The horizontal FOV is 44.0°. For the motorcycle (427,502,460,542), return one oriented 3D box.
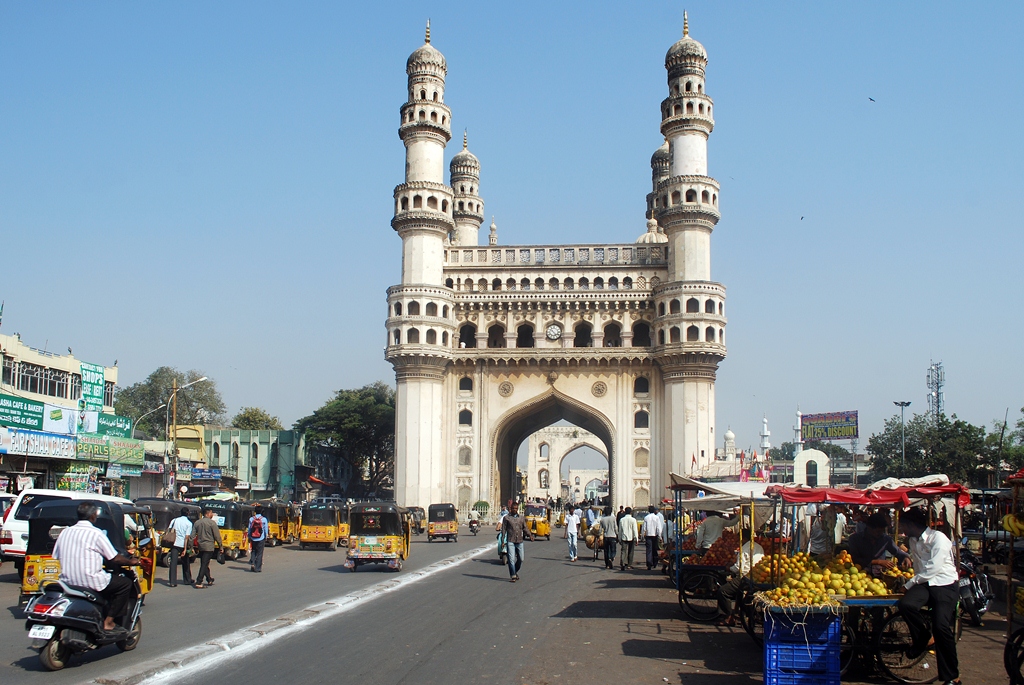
[{"bbox_3d":[-2.800,7.225,51.006,1.094,1.047,1.772,0,-3,2],"label":"motorcycle"}]

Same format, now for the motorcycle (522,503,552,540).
[{"bbox_3d":[1.025,7.760,55.059,1.343,1.341,2.377,-1,-13,3],"label":"motorcycle"}]

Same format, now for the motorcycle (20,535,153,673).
[{"bbox_3d":[-7.494,4.730,22.662,1.377,1.837,2.719,-2,-7,20],"label":"motorcycle"}]

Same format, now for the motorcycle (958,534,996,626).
[{"bbox_3d":[9.820,5.185,26.870,0.608,1.588,3.420,-4,-12,20],"label":"motorcycle"}]

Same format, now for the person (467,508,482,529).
[{"bbox_3d":[-1.805,8.613,61.310,0.574,0.696,1.187,-1,-11,1],"label":"person"}]
